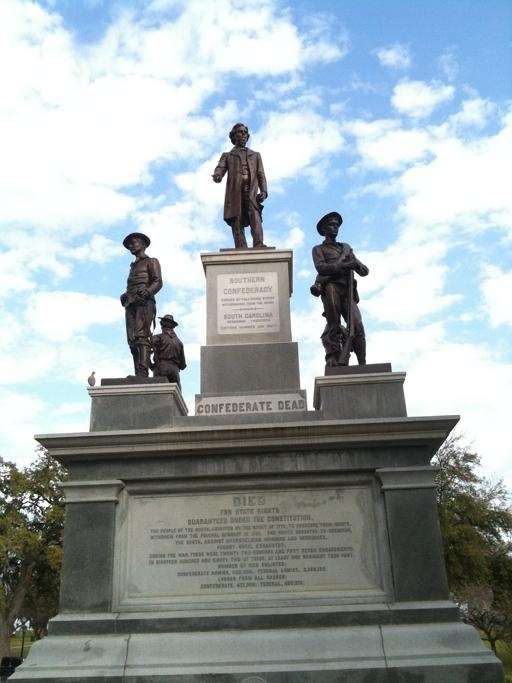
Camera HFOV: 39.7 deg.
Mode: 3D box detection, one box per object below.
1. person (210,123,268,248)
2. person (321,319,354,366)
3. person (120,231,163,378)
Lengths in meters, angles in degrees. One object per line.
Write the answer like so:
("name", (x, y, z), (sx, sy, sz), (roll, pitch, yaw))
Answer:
("person", (-0.281, -2.864, 13.114), (0.921, 2.650, 0.714), (-6, -12, 7))
("person", (1.200, 0.057, 10.763), (0.543, 0.742, 0.470), (-10, -13, 26))
("person", (-1.798, -0.602, 11.179), (0.614, 2.513, 0.889), (-2, -12, -13))
